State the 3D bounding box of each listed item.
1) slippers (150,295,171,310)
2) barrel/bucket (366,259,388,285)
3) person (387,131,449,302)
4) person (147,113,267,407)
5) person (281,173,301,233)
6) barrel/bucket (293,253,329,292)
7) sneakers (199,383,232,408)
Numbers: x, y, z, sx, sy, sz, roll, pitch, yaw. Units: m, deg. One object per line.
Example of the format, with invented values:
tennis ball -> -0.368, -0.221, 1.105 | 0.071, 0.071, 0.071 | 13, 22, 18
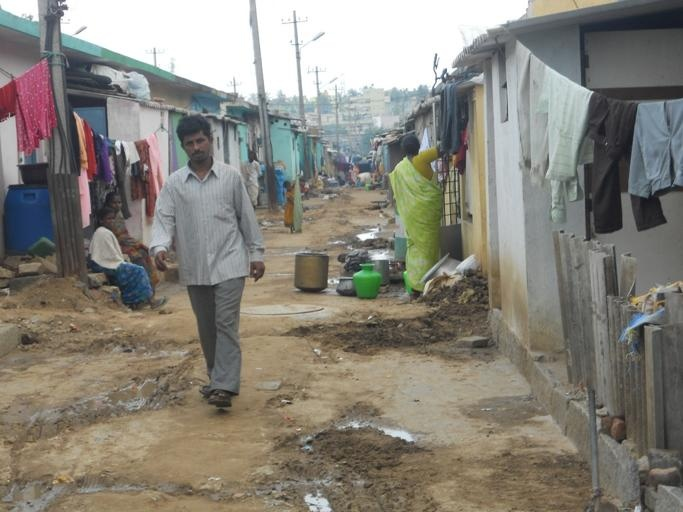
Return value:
slippers -> -2.682, 0.692, 10.041 | 0.131, 0.170, 0.384 | 0, 12, 23
barrel/bucket -> 0.615, 0.266, 11.365 | 0.351, 0.428, 0.366 | 0, -1, 0
person -> 1.146, -0.519, 10.266 | 0.705, 2.186, 0.564 | 0, 9, 4
person -> -1.171, 0.012, 5.836 | 0.804, 2.386, 0.721 | 3, 10, 24
person -> -1.478, -1.527, 20.808 | 0.480, 1.626, 1.303 | -1, 9, -5
barrel/bucket -> -0.392, 0.269, 11.103 | 0.545, 0.663, 0.569 | 1, 0, 0
sneakers -> -1.057, 1.181, 5.791 | 0.143, 0.173, 0.391 | 2, 2, -8
